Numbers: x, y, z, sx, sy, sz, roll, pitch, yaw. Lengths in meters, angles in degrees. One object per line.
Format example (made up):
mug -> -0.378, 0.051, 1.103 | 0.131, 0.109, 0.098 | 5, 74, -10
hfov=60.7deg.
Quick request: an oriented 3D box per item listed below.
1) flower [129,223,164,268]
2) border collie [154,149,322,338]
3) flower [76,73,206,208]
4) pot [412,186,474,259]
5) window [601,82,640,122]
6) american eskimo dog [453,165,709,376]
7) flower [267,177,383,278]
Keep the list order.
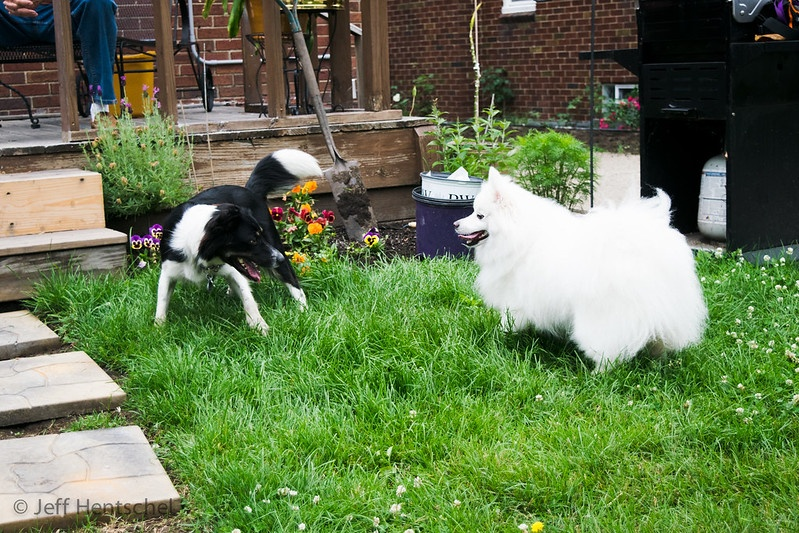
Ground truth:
flower -> -2.097, -0.162, 5.615 | 0.344, 0.446, 0.320 | 0, 4, -20
border collie -> -1.521, -0.163, 5.136 | 0.674, 0.982, 1.933 | -9, 11, -20
flower -> -2.377, -1.146, 6.314 | 0.967, 1.243, 1.262 | -3, 7, -21
pot -> 0.376, -0.411, 6.077 | 0.537, 0.534, 0.557 | 0, 12, 0
window -> 4.037, -3.036, 12.473 | 0.605, 0.598, 0.361 | 3, 7, 22
american eskimo dog -> 1.222, 0.048, 4.441 | 0.907, 1.065, 1.631 | -12, 17, -38
flower -> -0.715, -0.319, 5.761 | 0.503, 0.843, 0.960 | -19, 12, 20
